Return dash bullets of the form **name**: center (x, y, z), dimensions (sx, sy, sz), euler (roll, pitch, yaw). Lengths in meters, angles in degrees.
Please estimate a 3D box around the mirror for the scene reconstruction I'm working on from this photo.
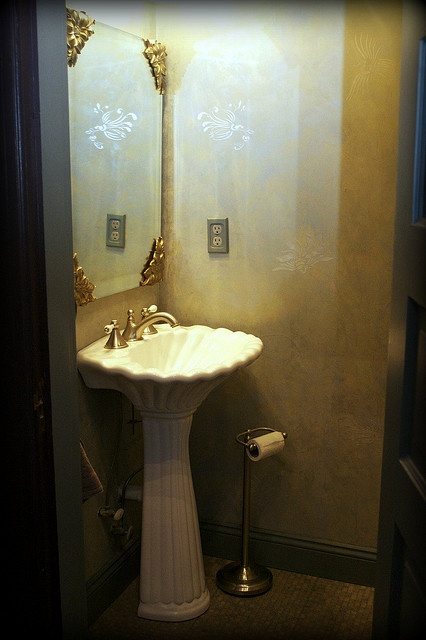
- **mirror**: center (-0.297, -0.512, 1.779), dimensions (0.086, 0.898, 0.628), euler (4, 9, 15)

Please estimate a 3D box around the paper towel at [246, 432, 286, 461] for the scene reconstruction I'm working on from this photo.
- **paper towel**: center (0.189, 0.426, 1.875), dimensions (0.143, 0.071, 0.070), euler (-17, 25, -39)

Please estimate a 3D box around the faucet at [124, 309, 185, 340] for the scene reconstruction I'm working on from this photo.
- **faucet**: center (-0.209, 0.007, 1.895), dimensions (0.179, 0.097, 0.327), euler (2, 9, 0)

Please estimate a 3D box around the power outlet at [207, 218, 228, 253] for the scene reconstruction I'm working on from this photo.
- **power outlet**: center (0.020, -0.319, 2.027), dimensions (0.088, 0.131, 0.009), euler (5, 9, 21)
